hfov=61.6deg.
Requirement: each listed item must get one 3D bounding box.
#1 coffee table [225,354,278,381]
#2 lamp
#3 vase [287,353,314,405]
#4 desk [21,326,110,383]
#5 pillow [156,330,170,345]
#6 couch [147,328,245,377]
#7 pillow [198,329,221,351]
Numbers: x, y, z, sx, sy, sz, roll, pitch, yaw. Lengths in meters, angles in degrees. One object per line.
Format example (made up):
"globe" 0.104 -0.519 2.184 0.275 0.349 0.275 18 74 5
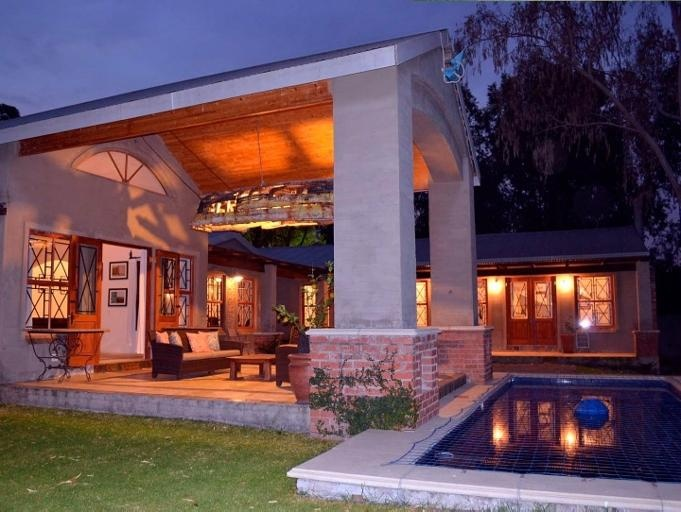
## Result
"coffee table" -1.956 2.421 12.380 0.917 0.516 1.373 0 -9 -18
"lamp" -0.989 -1.088 9.423 3.119 1.772 1.007 0 -2 42
"vase" -0.618 1.879 8.749 0.427 0.740 0.193 -6 -8 32
"desk" -5.816 2.098 12.056 1.442 1.177 0.817 1 1 15
"pillow" -3.935 1.794 12.618 0.295 0.250 0.655 1 -9 -18
"couch" -3.267 2.214 13.132 0.861 1.135 2.526 -6 -9 18
"pillow" -3.130 2.009 13.462 0.155 0.441 0.356 -30 -28 32
